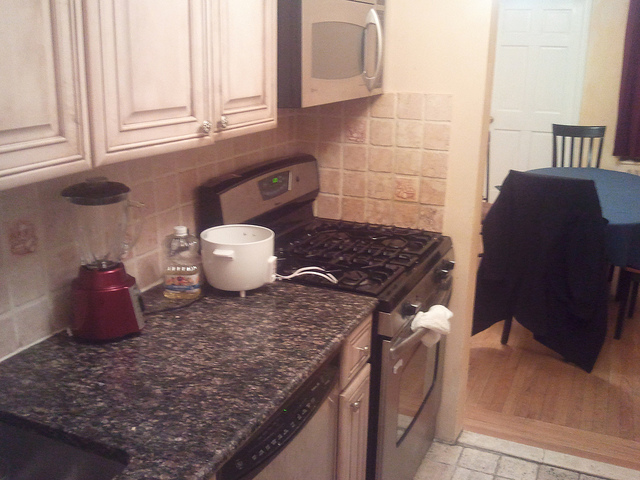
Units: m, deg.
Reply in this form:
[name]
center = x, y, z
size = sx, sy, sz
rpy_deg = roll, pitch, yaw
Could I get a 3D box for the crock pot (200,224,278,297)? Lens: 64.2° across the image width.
[crock pot]
center = -0.282, 0.060, 1.781
size = 0.244, 0.192, 0.274
rpy_deg = -5, 22, -10

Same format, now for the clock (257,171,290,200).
[clock]
center = -0.195, -0.238, 2.162
size = 0.042, 0.112, 0.174
rpy_deg = 10, 17, 29
